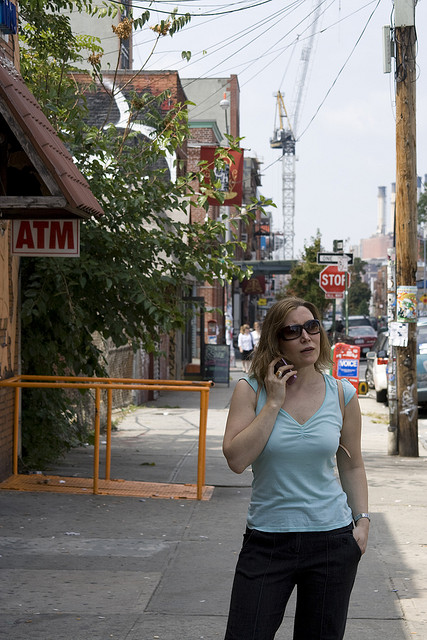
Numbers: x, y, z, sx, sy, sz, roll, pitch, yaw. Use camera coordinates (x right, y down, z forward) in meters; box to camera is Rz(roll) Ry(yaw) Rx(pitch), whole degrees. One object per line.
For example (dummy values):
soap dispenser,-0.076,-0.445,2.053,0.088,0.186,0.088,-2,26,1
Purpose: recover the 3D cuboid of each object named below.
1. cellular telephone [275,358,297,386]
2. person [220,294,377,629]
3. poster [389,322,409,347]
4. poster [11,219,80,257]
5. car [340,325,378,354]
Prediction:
cellular telephone,0.255,0.182,3.028,0.021,0.085,0.086,-1,33,-35
person,0.302,0.490,3.085,0.569,1.169,0.514,0,0,-7
poster,2.407,0.174,11.223,0.328,0.393,0.044,1,-14,33
poster,-1.363,-0.684,7.106,0.673,0.328,0.295,0,0,30
car,7.120,1.215,41.952,1.578,1.194,3.707,0,6,8
